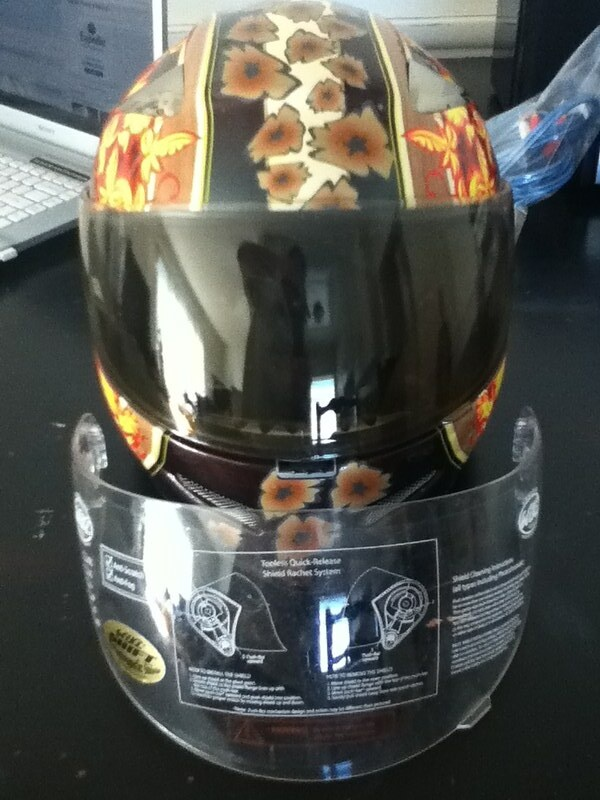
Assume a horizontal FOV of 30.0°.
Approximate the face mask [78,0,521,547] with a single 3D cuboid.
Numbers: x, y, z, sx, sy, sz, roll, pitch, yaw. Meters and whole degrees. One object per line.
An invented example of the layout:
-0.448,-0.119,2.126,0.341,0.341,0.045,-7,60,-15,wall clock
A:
-0.009,-0.065,0.663,0.270,0.300,0.168,2,29,9,face mask
